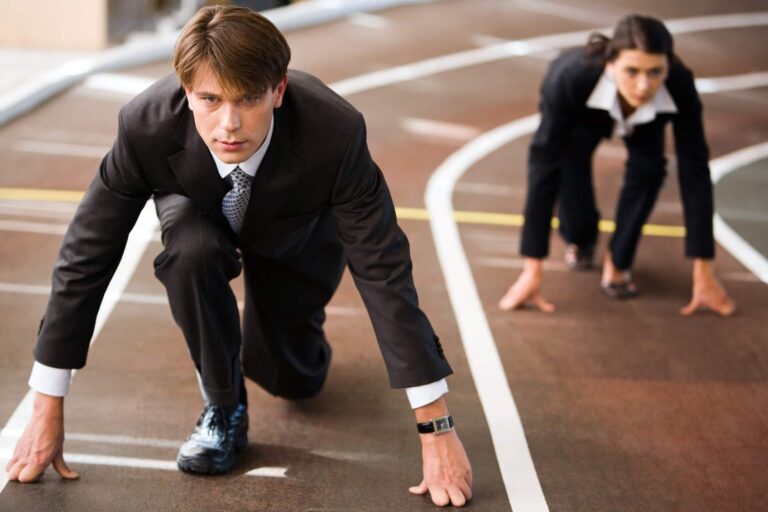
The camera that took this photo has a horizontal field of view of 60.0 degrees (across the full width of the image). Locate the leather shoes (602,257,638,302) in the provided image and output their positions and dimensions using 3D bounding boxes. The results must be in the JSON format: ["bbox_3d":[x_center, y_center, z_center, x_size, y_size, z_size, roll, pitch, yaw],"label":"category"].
[{"bbox_3d":[0.863,0.095,2.454,0.076,0.079,0.214,-3,9,-1],"label":"leather shoes"}]

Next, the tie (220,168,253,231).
[{"bbox_3d":[-0.401,-0.152,1.806,0.097,0.166,0.043,2,59,-2],"label":"tie"}]

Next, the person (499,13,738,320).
[{"bbox_3d":[0.800,-0.364,2.499,0.787,0.990,0.808,-4,17,1],"label":"person"}]

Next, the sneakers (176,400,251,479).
[{"bbox_3d":[-0.485,0.530,1.975,0.113,0.124,0.272,9,2,8],"label":"sneakers"}]
